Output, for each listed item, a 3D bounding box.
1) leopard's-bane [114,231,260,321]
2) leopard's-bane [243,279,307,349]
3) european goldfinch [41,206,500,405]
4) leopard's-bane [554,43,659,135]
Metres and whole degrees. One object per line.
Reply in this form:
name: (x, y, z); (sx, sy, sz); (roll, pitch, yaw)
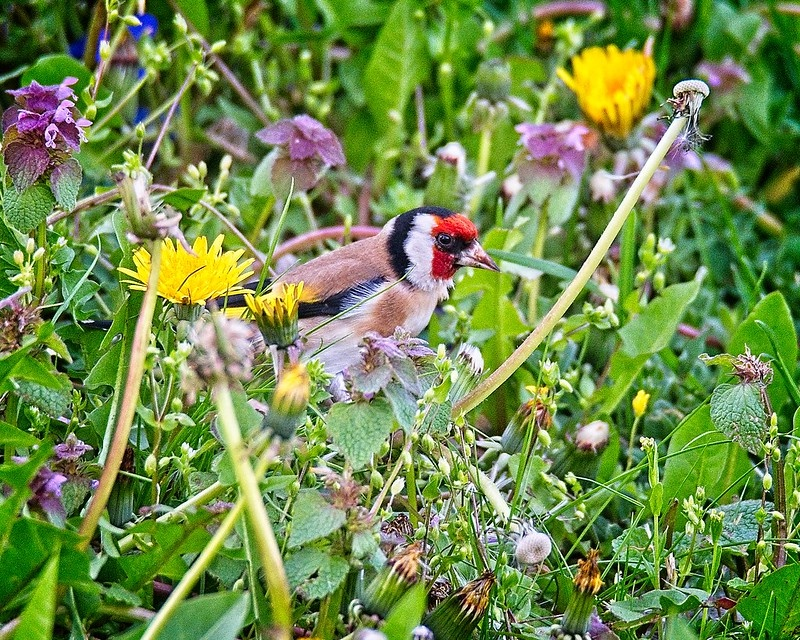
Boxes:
leopard's-bane: (-0.442, -0.093, 1.747); (0.218, 0.233, 0.148); (6, 82, 13)
leopard's-bane: (-0.227, -0.005, 1.646); (0.114, 0.129, 0.148); (-6, 83, 6)
european goldfinch: (-0.278, -0.054, 2.507); (1.001, 0.323, 0.664); (11, 90, 10)
leopard's-bane: (0.694, -0.826, 2.915); (0.294, 0.331, 0.310); (-12, 39, -5)
